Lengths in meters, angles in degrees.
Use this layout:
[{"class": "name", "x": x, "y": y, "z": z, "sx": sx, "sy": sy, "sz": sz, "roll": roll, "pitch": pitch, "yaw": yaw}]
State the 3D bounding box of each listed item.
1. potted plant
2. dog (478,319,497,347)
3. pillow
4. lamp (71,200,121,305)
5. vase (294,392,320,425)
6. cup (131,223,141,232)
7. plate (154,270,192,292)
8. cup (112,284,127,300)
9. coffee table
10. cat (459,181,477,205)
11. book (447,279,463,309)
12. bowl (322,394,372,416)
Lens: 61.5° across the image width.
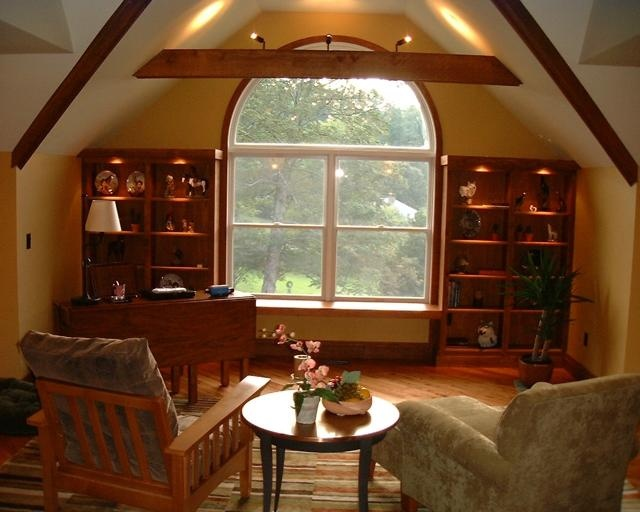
[{"class": "potted plant", "x": 2.410, "y": 0.652, "z": 5.785, "sx": 0.790, "sy": 1.377, "sz": 1.064, "roll": 1, "pitch": 4, "yaw": 22}, {"class": "dog", "x": 1.961, "y": 0.913, "z": 6.308, "sx": 0.225, "sy": 0.290, "sz": 0.343, "roll": 1, "pitch": 4, "yaw": 17}, {"class": "pillow", "x": -1.193, "y": 0.696, "z": 2.914, "sx": 0.863, "sy": 0.578, "sz": 0.235, "roll": 1, "pitch": 4, "yaw": 17}, {"class": "lamp", "x": -2.171, "y": -0.109, "z": 5.344, "sx": 0.401, "sy": 0.949, "sz": 1.875, "roll": -2, "pitch": 4, "yaw": -22}, {"class": "vase", "x": -0.079, "y": 0.882, "z": 3.149, "sx": 0.179, "sy": 0.176, "sz": 0.164, "roll": 0, "pitch": -2, "yaw": -3}, {"class": "cup", "x": -2.112, "y": -0.330, "z": 6.179, "sx": 0.095, "sy": 0.068, "sz": 0.092, "roll": 0, "pitch": -1, "yaw": 0}, {"class": "plate", "x": -1.438, "y": 0.262, "z": 5.497, "sx": 0.352, "sy": 0.080, "sz": 0.347, "roll": 4, "pitch": 6, "yaw": 18}, {"class": "cup", "x": -1.743, "y": 0.312, "z": 4.670, "sx": 0.112, "sy": 0.194, "sz": 0.108, "roll": 2, "pitch": 11, "yaw": 0}, {"class": "coffee table", "x": -0.016, "y": 1.034, "z": 3.400, "sx": 0.877, "sy": 0.613, "sz": 0.823, "roll": 0, "pitch": 4, "yaw": 0}, {"class": "cat", "x": 1.697, "y": -0.737, "z": 6.243, "sx": 0.206, "sy": 0.266, "sz": 0.108, "roll": -1, "pitch": 7, "yaw": 3}, {"class": "book", "x": 1.573, "y": 0.433, "z": 6.273, "sx": 0.145, "sy": 0.299, "sz": 0.346, "roll": 1, "pitch": 4, "yaw": 16}, {"class": "bowl", "x": 0.170, "y": 0.920, "z": 3.277, "sx": 0.165, "sy": 0.061, "sz": 0.161, "roll": -3, "pitch": -5, "yaw": 0}]
